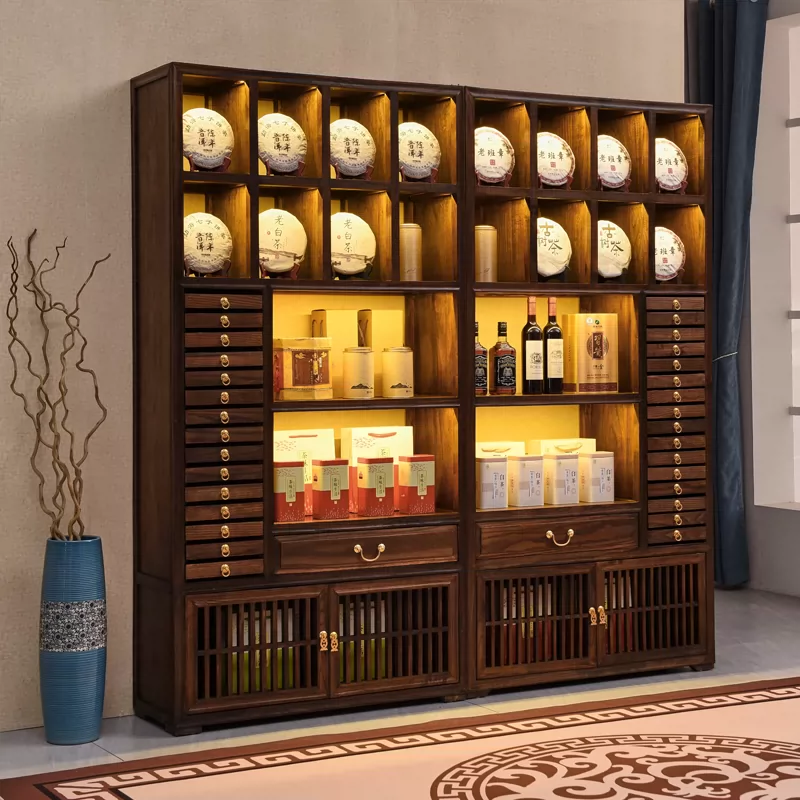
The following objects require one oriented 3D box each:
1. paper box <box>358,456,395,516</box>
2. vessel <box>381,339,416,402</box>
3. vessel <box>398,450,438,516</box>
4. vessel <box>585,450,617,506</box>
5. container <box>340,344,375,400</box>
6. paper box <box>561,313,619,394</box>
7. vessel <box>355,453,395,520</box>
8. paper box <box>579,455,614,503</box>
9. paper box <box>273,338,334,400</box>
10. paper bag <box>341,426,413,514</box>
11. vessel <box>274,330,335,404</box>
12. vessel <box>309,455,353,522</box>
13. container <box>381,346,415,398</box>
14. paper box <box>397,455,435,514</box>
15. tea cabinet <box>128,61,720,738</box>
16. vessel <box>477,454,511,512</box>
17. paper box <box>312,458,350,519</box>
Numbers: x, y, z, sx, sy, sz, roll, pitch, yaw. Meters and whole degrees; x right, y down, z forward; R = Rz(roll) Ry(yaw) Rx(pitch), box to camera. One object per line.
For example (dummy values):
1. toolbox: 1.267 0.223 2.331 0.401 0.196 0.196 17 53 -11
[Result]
1. paper box: -0.092 0.326 3.807 0.151 0.221 0.138 -4 -6 -2
2. vessel: -0.007 -0.104 3.852 0.185 0.266 0.169 0 -1 -16
3. vessel: 0.068 0.320 3.897 0.131 0.202 0.108 0 -1 -22
4. vessel: 0.799 0.324 4.237 0.147 0.230 0.154 -4 -5 43
5. container: -0.155 -0.099 3.794 0.114 0.189 0.065 -5 -6 1
6. paper box: 0.796 -0.197 4.289 0.264 0.344 0.251 -2 3 -41
7. vessel: -0.133 0.328 3.836 0.142 0.236 0.145 -3 -3 28
8. paper box: 0.808 0.319 4.228 0.138 0.201 0.131 -1 2 -15
9. paper box: -0.362 -0.119 3.766 0.229 0.230 0.229 -1 4 -4
10. paper bag: -0.099 0.277 3.983 0.300 0.331 0.118 3 -6 -36
11. vessel: -0.357 -0.117 3.771 0.220 0.228 0.227 0 2 1
12. vessel: -0.219 0.324 3.748 0.132 0.202 0.128 -4 -5 29
13. container: -0.007 -0.102 3.870 0.111 0.193 0.074 -4 -6 -6
14. paper box: 0.068 0.321 3.897 0.135 0.207 0.112 0 -2 -33
15. tea cabinet: 0.035 0.038 3.820 2.653 2.525 0.669 -1 1 -27
16. vessel: 0.331 0.339 4.042 0.158 0.218 0.159 -3 -5 -25
17. paper box: -0.215 0.323 3.749 0.156 0.206 0.151 -1 -3 -22
